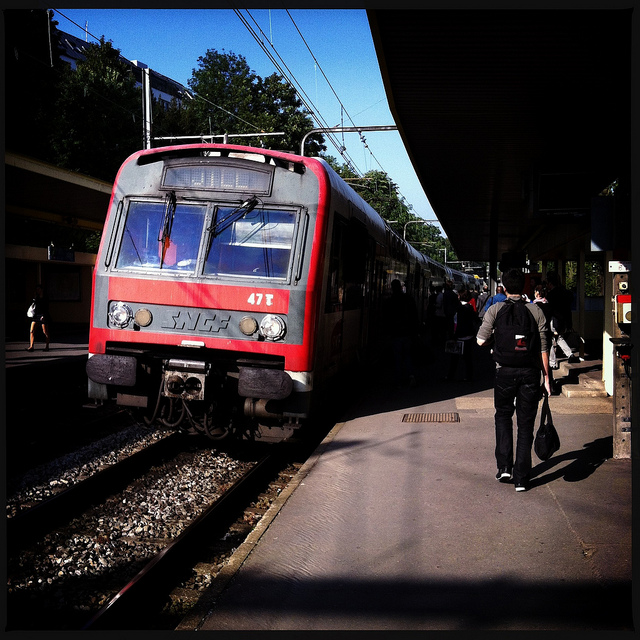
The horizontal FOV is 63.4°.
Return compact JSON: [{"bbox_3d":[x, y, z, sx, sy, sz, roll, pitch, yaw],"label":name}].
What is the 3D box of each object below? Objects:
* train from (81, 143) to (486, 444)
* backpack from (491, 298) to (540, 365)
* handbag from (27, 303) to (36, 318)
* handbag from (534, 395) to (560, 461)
[{"bbox_3d":[-0.587,-0.192,7.234,2.353,2.835,4.491,0,0,29],"label":"train"},{"bbox_3d":[1.819,0.192,4.813,0.446,0.704,0.390,-1,-22,28],"label":"backpack"},{"bbox_3d":[-8.948,-0.297,15.956,0.086,0.428,0.273,8,-3,-2],"label":"handbag"},{"bbox_3d":[2.176,1.075,4.973,0.191,0.663,0.721,0,0,23],"label":"handbag"}]
